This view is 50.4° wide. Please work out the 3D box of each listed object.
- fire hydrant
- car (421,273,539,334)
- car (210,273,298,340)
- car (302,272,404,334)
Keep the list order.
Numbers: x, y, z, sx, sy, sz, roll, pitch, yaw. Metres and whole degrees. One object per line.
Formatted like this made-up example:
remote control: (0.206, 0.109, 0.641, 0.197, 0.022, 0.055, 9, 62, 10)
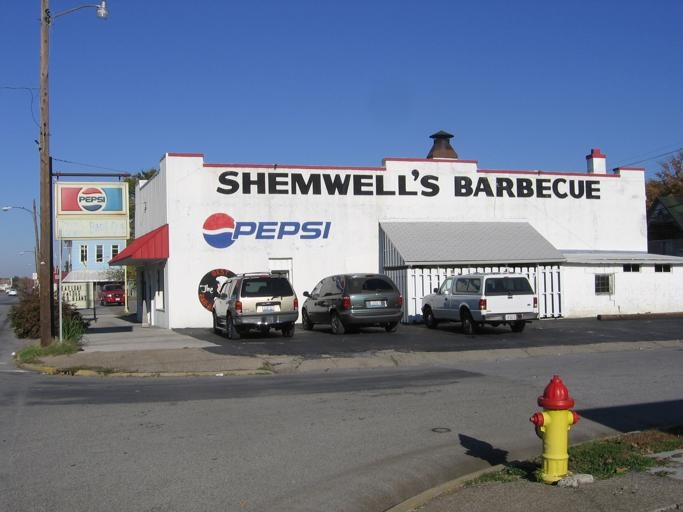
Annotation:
fire hydrant: (2.518, 2.043, 8.593, 0.508, 1.217, 0.385, 0, 1, 18)
car: (4.458, 1.438, 24.278, 1.745, 1.361, 3.445, 2, 1, -22)
car: (-2.841, 1.614, 23.683, 1.906, 2.125, 3.003, -1, 1, -25)
car: (0.157, 1.550, 24.797, 1.807, 1.248, 3.321, 0, 2, -19)
